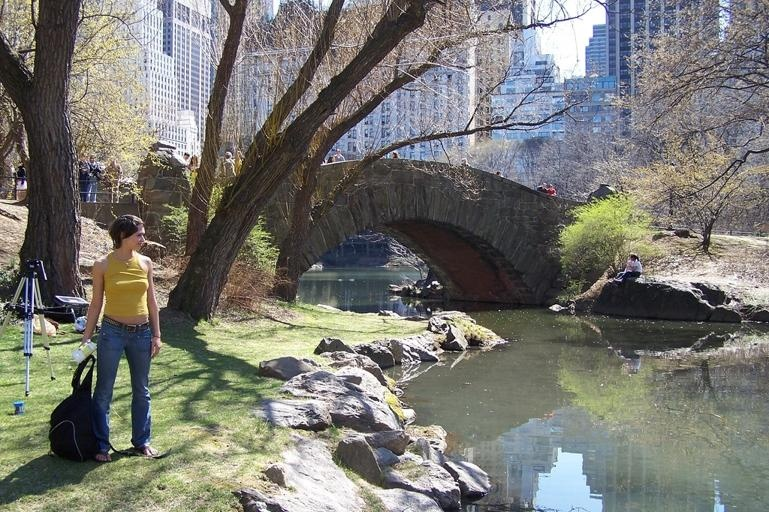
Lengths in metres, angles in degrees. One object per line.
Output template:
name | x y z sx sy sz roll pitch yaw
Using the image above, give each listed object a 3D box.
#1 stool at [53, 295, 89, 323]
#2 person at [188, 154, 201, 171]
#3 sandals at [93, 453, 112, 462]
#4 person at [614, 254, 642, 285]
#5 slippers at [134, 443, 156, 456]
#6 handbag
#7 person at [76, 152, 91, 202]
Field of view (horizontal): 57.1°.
stool | -5.554 0.926 12.495 0.479 0.381 0.612 21 16 18
person | -6.325 -3.162 23.536 0.270 0.647 1.624 6 -6 -19
sandals | -3.465 2.477 8.673 0.142 0.148 0.044 5 -27 -18
person | 9.206 0.460 26.639 0.960 1.109 0.836 0 -7 44
slippers | -3.042 2.441 8.913 0.356 0.155 0.116 -5 2 24
handbag | -3.981 1.988 9.030 0.657 1.586 1.146 5 -7 -25
person | -9.512 -2.423 22.426 0.395 1.547 1.570 7 -6 -24
